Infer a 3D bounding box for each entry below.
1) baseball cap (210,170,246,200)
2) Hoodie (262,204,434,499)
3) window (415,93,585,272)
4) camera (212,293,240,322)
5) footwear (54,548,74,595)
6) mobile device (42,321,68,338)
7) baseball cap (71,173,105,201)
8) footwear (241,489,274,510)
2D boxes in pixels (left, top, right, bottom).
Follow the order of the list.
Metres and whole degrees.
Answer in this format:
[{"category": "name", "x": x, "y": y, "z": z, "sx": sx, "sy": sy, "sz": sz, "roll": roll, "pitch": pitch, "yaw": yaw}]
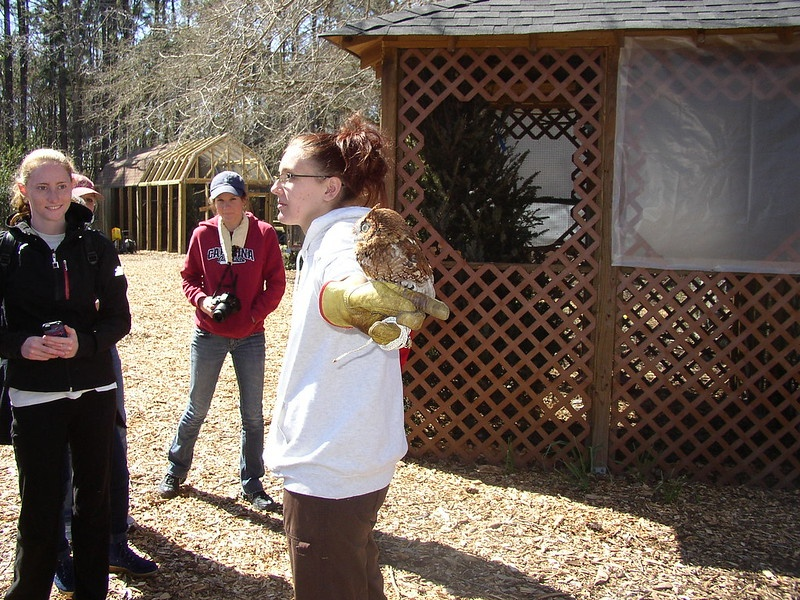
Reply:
[{"category": "baseball cap", "x": -1.304, "y": -0.864, "z": 5.763, "sx": 0.261, "sy": 0.203, "sz": 0.285, "roll": -1, "pitch": 12, "yaw": -14}, {"category": "Hoodie", "x": -0.203, "y": 0.249, "z": 4.312, "sx": 1.024, "sy": 1.990, "sz": 1.231, "roll": 1, "pitch": -2, "yaw": 4}, {"category": "window", "x": 0.713, "y": -1.389, "z": 7.920, "sx": 1.951, "sy": 2.064, "sz": 0.827, "roll": 2, "pitch": -2, "yaw": -10}, {"category": "camera", "x": -1.254, "y": 0.041, "z": 5.455, "sx": 0.116, "sy": 0.178, "sz": 0.196, "roll": -32, "pitch": 16, "yaw": 39}, {"category": "footwear", "x": -2.125, "y": 1.714, "z": 4.852, "sx": 0.121, "sy": 0.137, "sz": 0.333, "roll": -1, "pitch": 14, "yaw": -29}, {"category": "mobile device", "x": -1.932, "y": 0.167, "z": 4.260, "sx": 0.062, "sy": 0.113, "sz": 0.015, "roll": -13, "pitch": 3, "yaw": -21}, {"category": "baseball cap", "x": -2.295, "y": -0.810, "z": 5.539, "sx": 0.249, "sy": 0.153, "sz": 0.188, "roll": 1, "pitch": 4, "yaw": 43}, {"category": "footwear", "x": -1.090, "y": 1.495, "z": 5.813, "sx": 0.271, "sy": 0.115, "sz": 0.108, "roll": 10, "pitch": 4, "yaw": 41}]
